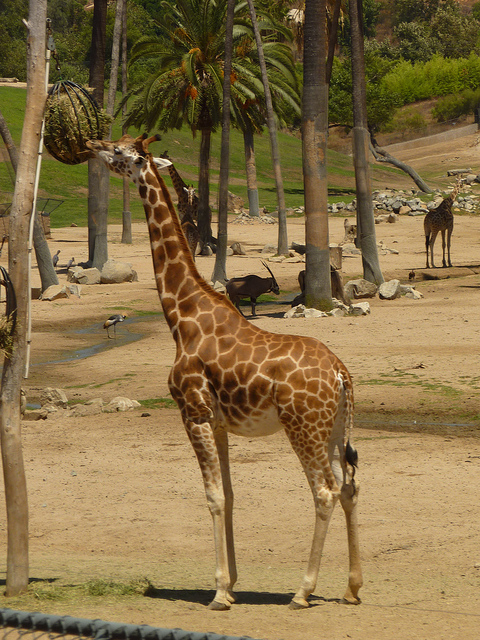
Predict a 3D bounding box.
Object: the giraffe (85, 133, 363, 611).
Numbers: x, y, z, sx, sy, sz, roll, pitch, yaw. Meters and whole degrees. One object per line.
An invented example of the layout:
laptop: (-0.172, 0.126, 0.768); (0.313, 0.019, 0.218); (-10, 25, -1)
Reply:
giraffe: (-0.040, 0.315, 7.978); (1.076, 3.293, 1.850); (-13, 13, -42)
